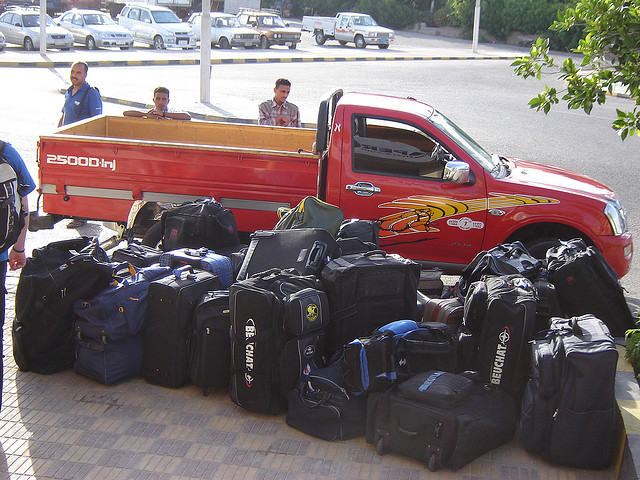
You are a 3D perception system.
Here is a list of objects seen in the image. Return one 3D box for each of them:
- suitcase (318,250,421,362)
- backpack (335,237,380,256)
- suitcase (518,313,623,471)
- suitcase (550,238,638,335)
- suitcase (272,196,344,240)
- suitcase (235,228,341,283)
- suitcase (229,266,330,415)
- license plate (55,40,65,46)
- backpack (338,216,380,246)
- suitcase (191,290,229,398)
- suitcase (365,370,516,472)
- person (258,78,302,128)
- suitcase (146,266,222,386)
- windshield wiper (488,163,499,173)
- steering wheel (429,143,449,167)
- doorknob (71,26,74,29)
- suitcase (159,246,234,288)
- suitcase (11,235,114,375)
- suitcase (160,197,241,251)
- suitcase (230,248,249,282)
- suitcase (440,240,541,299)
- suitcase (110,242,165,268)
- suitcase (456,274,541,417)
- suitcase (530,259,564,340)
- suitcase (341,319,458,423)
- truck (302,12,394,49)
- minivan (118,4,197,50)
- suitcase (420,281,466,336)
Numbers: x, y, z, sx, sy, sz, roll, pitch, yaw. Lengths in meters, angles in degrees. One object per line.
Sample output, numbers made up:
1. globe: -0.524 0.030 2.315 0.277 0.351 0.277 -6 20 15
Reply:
1. suitcase: 0.518 0.602 5.507 0.897 1.048 0.527 -6 21 -10
2. backpack: 0.371 0.053 5.952 0.273 0.125 0.229 -4 5 -6
3. suitcase: 2.021 1.227 4.579 0.742 1.026 0.565 7 17 16
4. suitcase: 2.748 0.458 5.812 0.575 0.928 0.490 -26 8 -2
5. suitcase: -0.129 -0.342 6.453 0.641 0.503 0.763 5 21 12
6. suitcase: -0.449 0.196 6.355 1.057 0.417 1.382 7 -14 -15
7. suitcase: -0.359 0.949 4.979 0.842 1.130 0.347 -1 16 -12
8. license plate: -12.721 -9.614 27.840 0.436 0.232 0.135 -8 19 -33
9. backpack: 0.396 -0.115 6.313 0.393 0.420 0.285 2 4 -25
10. suitcase: -1.014 0.951 5.224 0.346 0.903 0.260 -2 16 -13
11. suitcase: 0.920 1.447 4.495 0.801 0.354 0.984 8 19 16
12. person: -0.680 -2.185 9.458 0.674 1.005 0.583 3 18 -7
13. suitcase: -1.255 0.830 5.214 0.429 1.327 0.837 9 10 21
14. windshield wiper: 2.172 -0.897 7.120 0.058 0.060 0.441 10 18 25
15. steering wheel: 1.507 -1.085 7.293 0.092 0.267 0.239 -27 19 -26
16. doorknob: -13.378 -11.451 30.743 0.107 0.110 0.026 6 -3 5
17. suitcase: -1.341 0.302 5.967 0.683 0.540 0.378 6 9 3
18. suitcase: -2.585 0.601 5.670 0.671 1.289 0.985 12 11 -3
19. suitcase: -1.399 -0.155 6.633 0.897 0.537 0.507 -2 17 -15
20. suitcase: -0.801 0.268 5.986 0.206 0.303 0.306 -1 -3 -9
21. suitcase: 1.976 0.325 6.338 0.958 0.646 1.527 -6 12 3
22. suitcase: -1.906 0.137 6.163 0.339 0.161 0.357 13 18 22
23. suitcase: 1.612 0.759 5.262 0.713 1.327 0.900 8 35 18
24. suitcase: 2.077 0.540 5.190 0.289 0.582 0.343 2 10 24
25. suitcase: 0.661 0.989 5.143 1.048 0.604 0.737 -8 4 -25
26. truck: 2.130 -14.049 38.287 5.879 2.241 1.003 14 20 35
27. minivan: -9.328 -12.274 32.915 4.256 2.231 2.576 19 28 27
28. suitcase: 1.205 0.662 5.672 0.395 0.360 0.403 7 21 5
